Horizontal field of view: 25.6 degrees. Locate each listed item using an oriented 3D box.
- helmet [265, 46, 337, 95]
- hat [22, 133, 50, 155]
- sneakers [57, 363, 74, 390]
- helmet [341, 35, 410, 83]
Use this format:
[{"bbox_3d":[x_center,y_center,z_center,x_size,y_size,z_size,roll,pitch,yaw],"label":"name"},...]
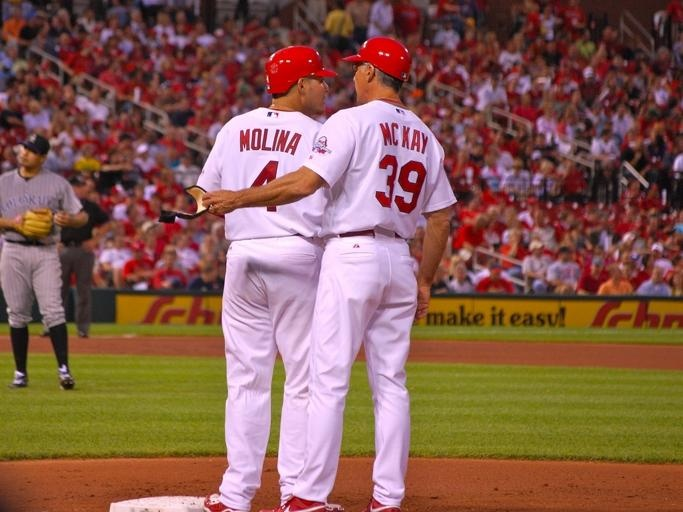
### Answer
[{"bbox_3d":[-0.444,-1.996,16.137,0.657,0.338,0.460,-6,12,-6],"label":"helmet"},{"bbox_3d":[-3.638,-1.346,18.103,0.220,0.174,0.300,26,-6,44],"label":"hat"},{"bbox_3d":[-3.336,1.481,18.381,0.132,0.369,0.180,-17,50,-7],"label":"sneakers"},{"bbox_3d":[0.431,-2.095,16.048,0.592,0.317,0.438,17,14,10],"label":"helmet"}]
